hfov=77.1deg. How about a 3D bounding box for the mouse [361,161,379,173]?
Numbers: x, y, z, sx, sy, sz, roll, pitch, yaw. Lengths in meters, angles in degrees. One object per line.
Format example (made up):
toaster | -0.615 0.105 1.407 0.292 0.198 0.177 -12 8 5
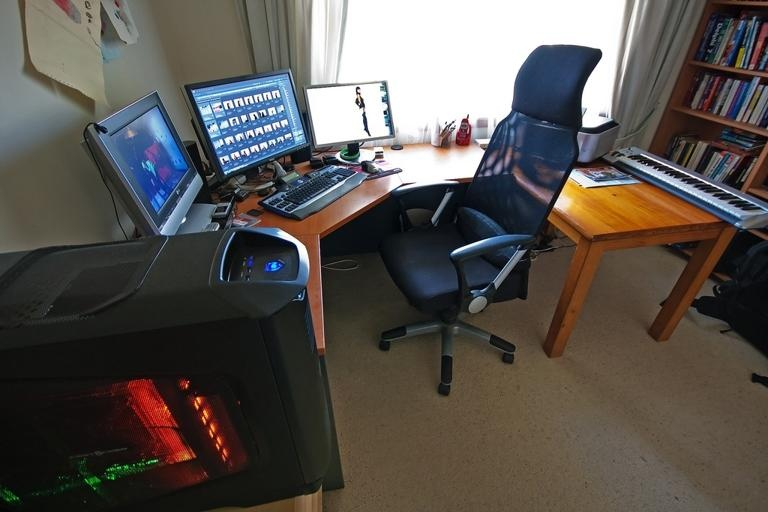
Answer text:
mouse | -0.086 -0.529 2.867 0.093 0.038 0.065 10 42 6

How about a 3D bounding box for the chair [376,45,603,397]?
chair | 0.470 -0.203 2.554 1.122 1.602 0.887 -5 29 -6

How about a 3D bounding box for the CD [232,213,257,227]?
CD | -0.704 -0.175 2.407 0.095 0.021 0.089 12 36 6

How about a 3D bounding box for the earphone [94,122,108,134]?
earphone | -1.062 -0.479 1.796 0.038 0.011 0.024 40 19 18

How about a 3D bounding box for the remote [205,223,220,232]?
remote | -0.785 -0.132 2.182 0.067 0.035 0.063 -4 35 -19

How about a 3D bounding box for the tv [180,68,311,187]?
tv | -0.740 -0.677 2.599 0.160 0.496 0.735 28 42 36

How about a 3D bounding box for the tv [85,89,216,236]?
tv | -1.022 -0.394 2.079 0.303 0.531 0.546 -6 43 8

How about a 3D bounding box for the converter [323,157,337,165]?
converter | -0.340 -0.595 2.997 0.064 0.041 0.059 -8 36 -12
